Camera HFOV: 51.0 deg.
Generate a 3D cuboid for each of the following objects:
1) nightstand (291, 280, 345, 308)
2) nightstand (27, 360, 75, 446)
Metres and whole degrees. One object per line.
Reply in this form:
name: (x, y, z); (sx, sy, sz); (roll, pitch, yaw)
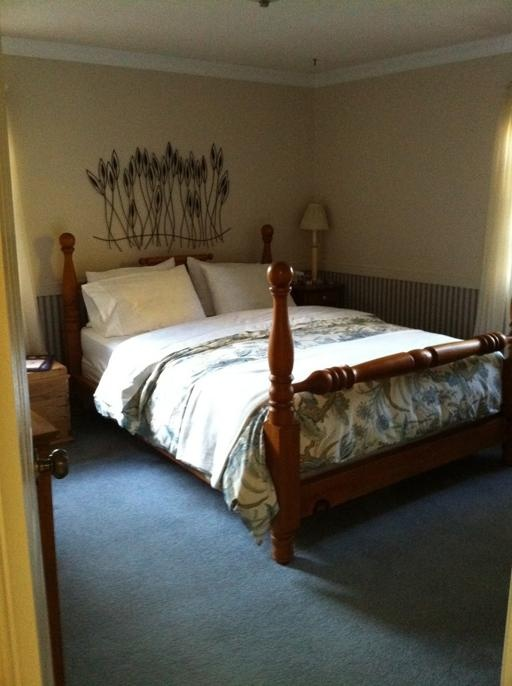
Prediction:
nightstand: (0.580, -0.464, 5.078); (0.416, 0.391, 0.300); (-8, 15, -32)
nightstand: (-1.464, 0.375, 3.537); (0.357, 0.443, 0.382); (-12, 20, -40)
